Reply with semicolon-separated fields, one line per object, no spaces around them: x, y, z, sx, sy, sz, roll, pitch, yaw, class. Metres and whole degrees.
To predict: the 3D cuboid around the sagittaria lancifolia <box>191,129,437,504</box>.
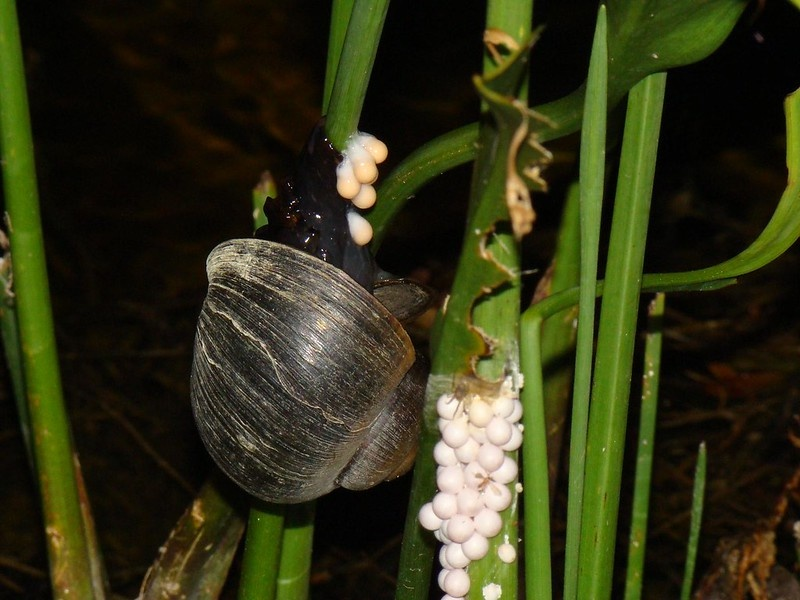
-0.068;0.039;0.726;0.181;0.307;0.137;6;30;2;sagittaria lancifolia
